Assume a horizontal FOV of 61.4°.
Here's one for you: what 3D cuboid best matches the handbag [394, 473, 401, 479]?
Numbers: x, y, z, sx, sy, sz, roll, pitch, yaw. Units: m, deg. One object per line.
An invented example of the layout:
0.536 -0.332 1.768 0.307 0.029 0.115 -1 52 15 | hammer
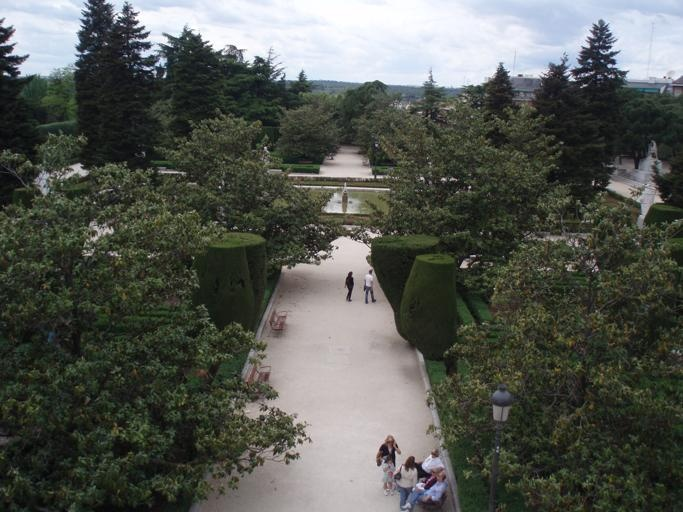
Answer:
1.554 6.081 15.909 0.138 0.147 0.140 -2 2 -23 | handbag
